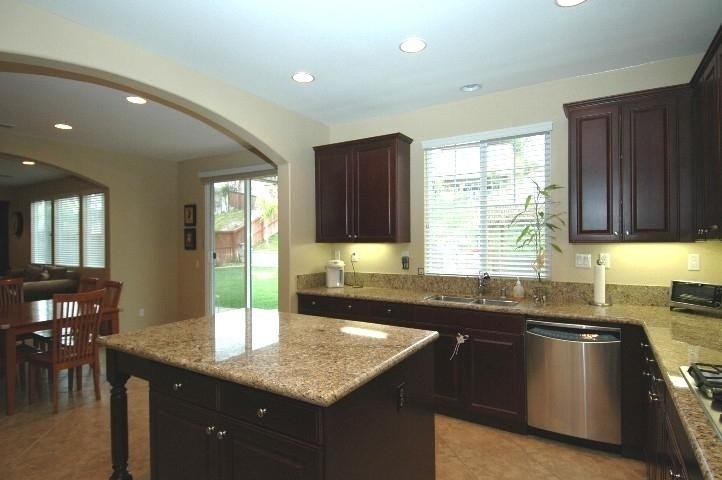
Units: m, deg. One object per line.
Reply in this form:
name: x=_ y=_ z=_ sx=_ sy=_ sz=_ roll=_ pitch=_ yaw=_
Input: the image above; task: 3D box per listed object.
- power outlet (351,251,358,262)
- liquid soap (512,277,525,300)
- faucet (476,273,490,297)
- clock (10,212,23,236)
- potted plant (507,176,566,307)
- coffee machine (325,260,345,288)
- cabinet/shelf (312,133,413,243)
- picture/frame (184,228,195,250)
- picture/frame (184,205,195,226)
power outlet: x=-0.081 y=0.199 z=6.145 sx=0.073 sy=0.102 sz=0.101 roll=1 pitch=-7 yaw=-20
liquid soap: x=1.659 y=0.511 z=5.251 sx=0.123 sy=0.196 sz=0.097 roll=-3 pitch=0 yaw=16
faucet: x=1.346 y=0.470 z=5.401 sx=0.167 sy=0.231 sz=0.076 roll=-3 pitch=0 yaw=-36
clock: x=-7.536 y=-0.375 z=10.894 sx=0.493 sy=0.596 sz=0.099 roll=-4 pitch=-5 yaw=44
potted plant: x=1.839 y=-0.019 z=5.167 sx=0.547 sy=1.164 sz=0.321 roll=-3 pitch=0 yaw=17
coffee machine: x=-0.305 y=0.411 z=6.083 sx=0.231 sy=0.331 sz=0.205 roll=-3 pitch=0 yaw=-16
cabinet/shelf: x=0.053 y=-0.597 z=5.864 sx=1.310 sy=1.269 sz=0.515 roll=-2 pitch=-3 yaw=29
picture/frame: x=-2.752 y=-0.027 z=8.009 sx=0.336 sy=0.466 sz=0.052 roll=2 pitch=3 yaw=37
picture/frame: x=-2.767 y=-0.410 z=8.044 sx=0.326 sy=0.376 sz=0.050 roll=-4 pitch=-6 yaw=37
